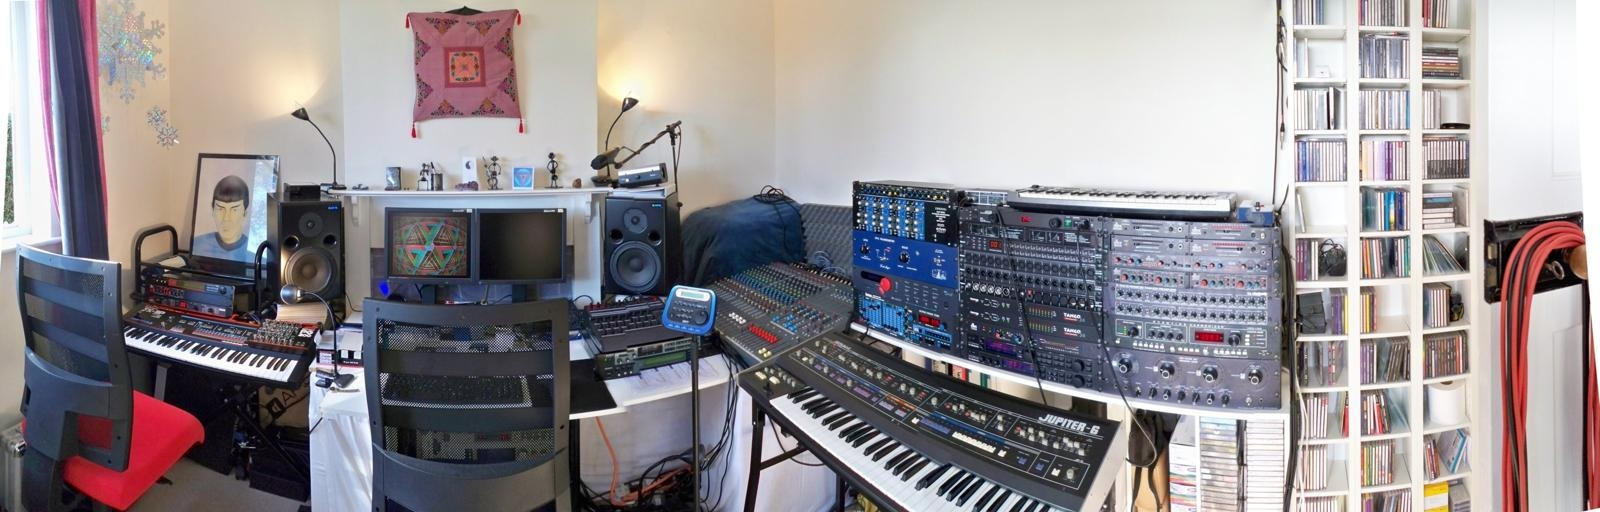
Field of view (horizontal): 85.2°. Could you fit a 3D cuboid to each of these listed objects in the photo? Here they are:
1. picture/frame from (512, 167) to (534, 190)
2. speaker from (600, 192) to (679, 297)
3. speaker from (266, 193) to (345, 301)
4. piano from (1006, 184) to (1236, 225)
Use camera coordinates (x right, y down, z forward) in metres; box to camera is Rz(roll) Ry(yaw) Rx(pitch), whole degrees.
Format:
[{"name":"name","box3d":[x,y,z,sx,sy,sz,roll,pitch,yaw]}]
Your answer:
[{"name":"picture/frame","box3d":[-3.424,-0.948,10.727,0.395,0.249,0.032,12,2,-7]},{"name":"speaker","box3d":[-2.227,-0.133,10.723,0.910,1.222,1.064,1,1,-13]},{"name":"speaker","box3d":[-5.946,-0.080,10.598,0.716,1.214,0.679,3,-3,20]},{"name":"piano","box3d":[3.554,-0.573,9.587,2.396,0.366,0.704,0,7,11]}]
